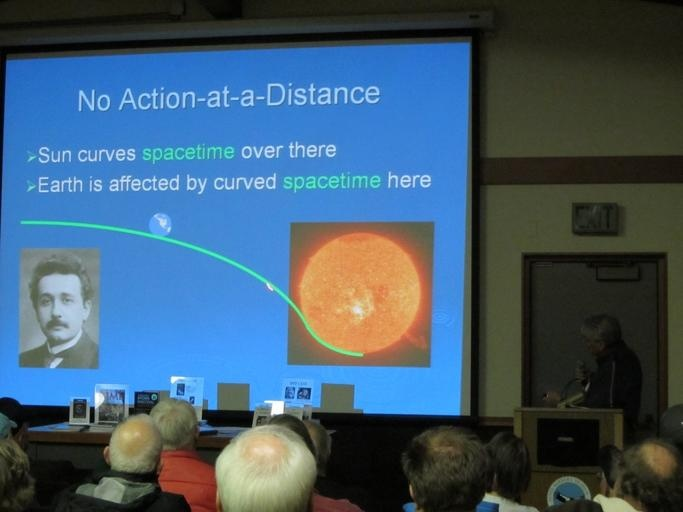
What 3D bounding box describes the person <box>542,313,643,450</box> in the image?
[{"bbox_3d":[2.213,0.908,6.342,0.507,0.836,0.348,0,-6,17],"label":"person"}]
